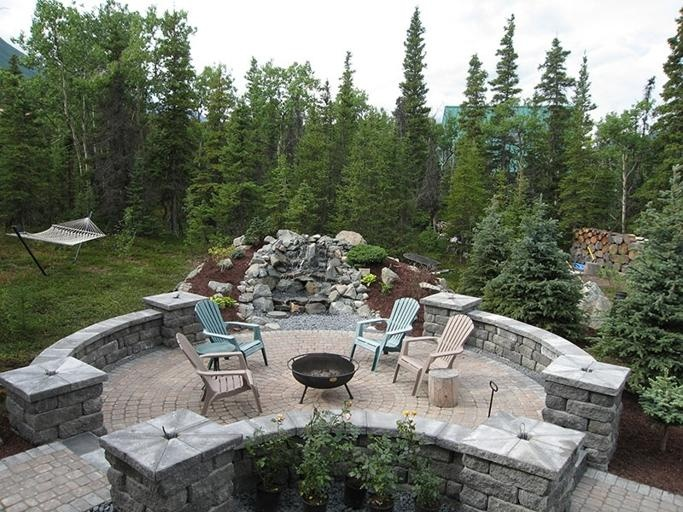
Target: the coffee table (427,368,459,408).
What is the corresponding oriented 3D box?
[{"bbox_3d":[1.831,2.352,8.471,0.606,0.514,0.586,-2,3,-19],"label":"coffee table"}]
